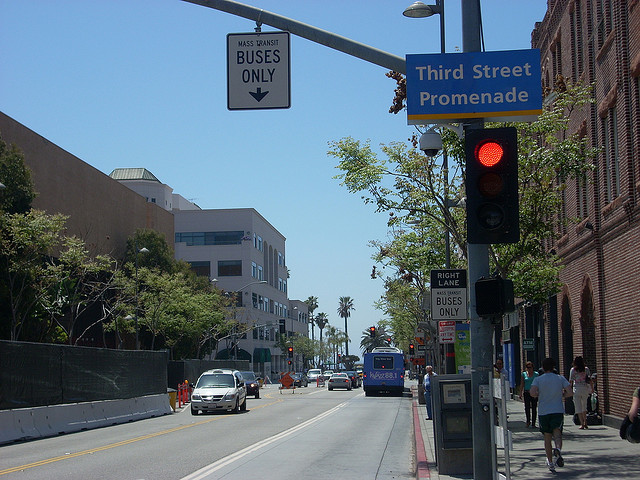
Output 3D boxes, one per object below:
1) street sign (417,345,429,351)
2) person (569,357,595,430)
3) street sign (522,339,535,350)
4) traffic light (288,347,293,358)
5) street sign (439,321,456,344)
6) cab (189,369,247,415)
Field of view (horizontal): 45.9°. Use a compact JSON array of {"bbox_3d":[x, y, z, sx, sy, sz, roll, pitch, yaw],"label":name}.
[{"bbox_3d":[7.061,7.390,51.330,0.874,0.283,1.059,1,-4,-3],"label":"street sign"},{"bbox_3d":[8.554,4.942,24.805,0.743,2.445,0.685,-2,-3,39],"label":"person"},{"bbox_3d":[9.260,4.677,33.733,0.433,0.453,0.544,-5,-15,10],"label":"street sign"},{"bbox_3d":[-2.731,10.173,67.913,0.286,0.811,0.912,1,-15,-12],"label":"traffic light"},{"bbox_3d":[3.779,2.726,22.438,0.528,0.675,0.693,-1,-15,-5],"label":"street sign"},{"bbox_3d":[-4.951,7.555,37.094,2.417,2.344,5.142,-1,-11,0],"label":"cab"}]
